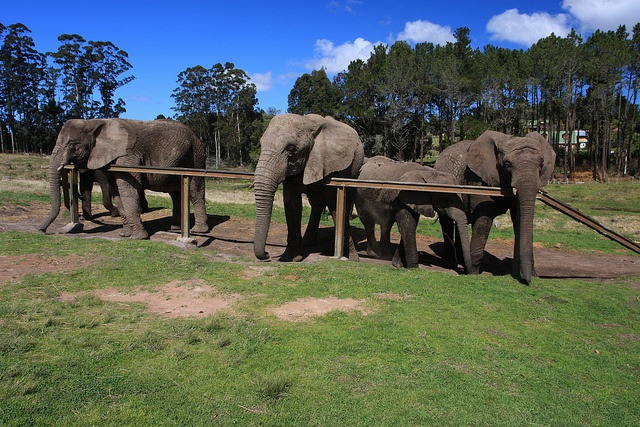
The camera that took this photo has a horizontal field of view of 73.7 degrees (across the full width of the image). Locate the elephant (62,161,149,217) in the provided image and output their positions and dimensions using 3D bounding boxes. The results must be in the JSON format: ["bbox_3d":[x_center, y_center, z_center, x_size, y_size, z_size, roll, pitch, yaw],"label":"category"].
[{"bbox_3d":[-7.988,-1.042,15.476,2.834,1.669,1.005,-9,-7,28],"label":"elephant"}]

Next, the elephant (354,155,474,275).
[{"bbox_3d":[2.487,0.043,12.178,1.903,3.012,4.021,-9,15,-42],"label":"elephant"}]

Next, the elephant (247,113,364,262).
[{"bbox_3d":[-0.234,-0.671,12.622,2.609,4.359,5.462,5,8,26],"label":"elephant"}]

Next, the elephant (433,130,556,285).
[{"bbox_3d":[4.885,-0.155,12.489,2.253,3.939,4.909,-1,-1,-8],"label":"elephant"}]
